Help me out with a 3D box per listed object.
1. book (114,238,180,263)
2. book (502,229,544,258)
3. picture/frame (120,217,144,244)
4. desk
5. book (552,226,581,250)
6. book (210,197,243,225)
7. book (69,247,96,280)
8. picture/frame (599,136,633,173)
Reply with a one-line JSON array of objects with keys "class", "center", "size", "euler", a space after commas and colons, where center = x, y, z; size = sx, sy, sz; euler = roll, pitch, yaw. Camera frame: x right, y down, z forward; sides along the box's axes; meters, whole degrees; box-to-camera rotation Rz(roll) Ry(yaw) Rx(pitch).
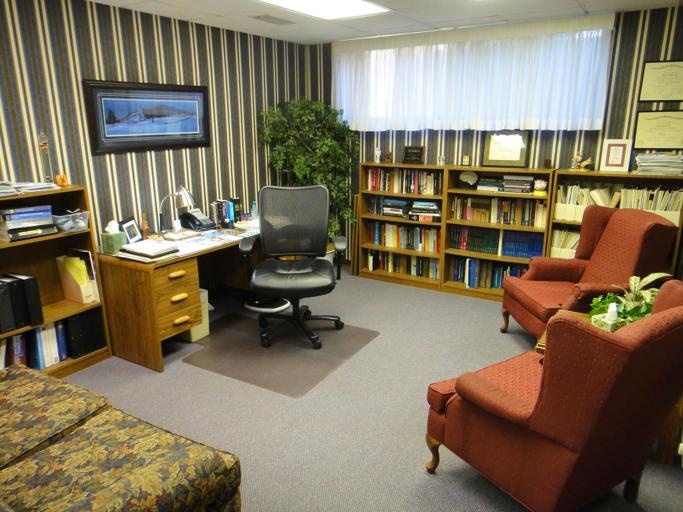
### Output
[{"class": "book", "center": [-1.505, -0.047, 3.734], "size": [0.253, 0.061, 0.263], "euler": [8, 14, 29]}, {"class": "book", "center": [1.878, -0.136, 5.071], "size": [0.461, 0.426, 0.249], "euler": [4, 4, 27]}, {"class": "picture/frame", "center": [-1.760, -0.216, 4.043], "size": [0.074, 0.202, 0.203], "euler": [-9, 14, 17]}, {"class": "desk", "center": [-1.364, 0.265, 4.517], "size": [0.676, 0.849, 1.673], "euler": [5, 16, 18]}, {"class": "book", "center": [2.191, -0.169, 4.780], "size": [0.264, 0.246, 0.189], "euler": [2, 3, -6]}, {"class": "book", "center": [-1.166, -0.454, 4.852], "size": [0.160, 0.262, 0.265], "euler": [5, 15, 20]}, {"class": "book", "center": [-2.028, 0.067, 3.800], "size": [0.253, 0.325, 0.042], "euler": [2, 6, 17]}, {"class": "picture/frame", "center": [2.550, -0.939, 4.448], "size": [0.330, 0.437, 0.037], "euler": [8, 6, 29]}]
